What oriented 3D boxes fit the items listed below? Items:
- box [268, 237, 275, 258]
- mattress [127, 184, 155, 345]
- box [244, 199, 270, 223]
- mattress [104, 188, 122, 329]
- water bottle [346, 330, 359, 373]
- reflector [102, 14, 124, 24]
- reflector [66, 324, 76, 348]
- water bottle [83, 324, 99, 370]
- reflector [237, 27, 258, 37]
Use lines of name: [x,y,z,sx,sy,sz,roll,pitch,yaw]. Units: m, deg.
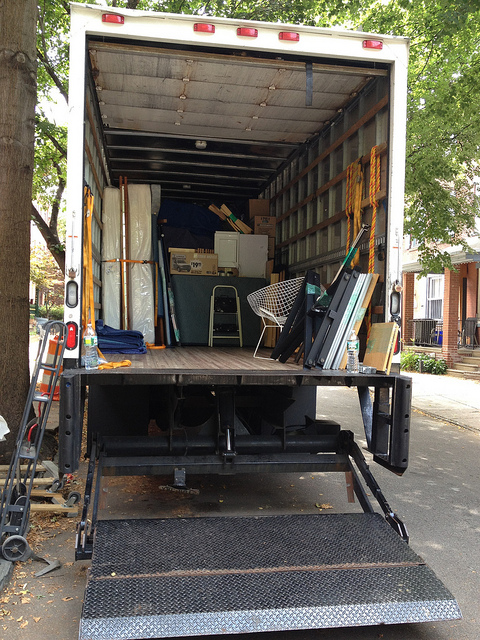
box: [0.447,-1.043,7.370,0.172,0.340,0.337,0,0,4]
mattress: [-1.253,-0.741,6.285,0.420,1.939,0.851,3,7,-14]
box: [0.264,-1.573,7.594,0.267,0.395,0.521,-1,6,-5]
mattress: [-1.520,-0.770,5.929,0.229,1.506,0.378,2,5,-19]
water bottle: [0.743,0.204,3.265,0.092,0.247,0.248,6,7,12]
reflector: [-0.756,-1.796,2.968,0.123,0.058,0.022,4,7,-14]
reflector: [-0.986,0.093,2.916,0.049,0.132,0.035,2,7,-20]
water bottle: [-0.913,0.156,3.057,0.098,0.234,0.338,3,8,-18]
reflector: [0.052,-1.806,3.130,0.085,0.034,0.067,4,28,-7]
